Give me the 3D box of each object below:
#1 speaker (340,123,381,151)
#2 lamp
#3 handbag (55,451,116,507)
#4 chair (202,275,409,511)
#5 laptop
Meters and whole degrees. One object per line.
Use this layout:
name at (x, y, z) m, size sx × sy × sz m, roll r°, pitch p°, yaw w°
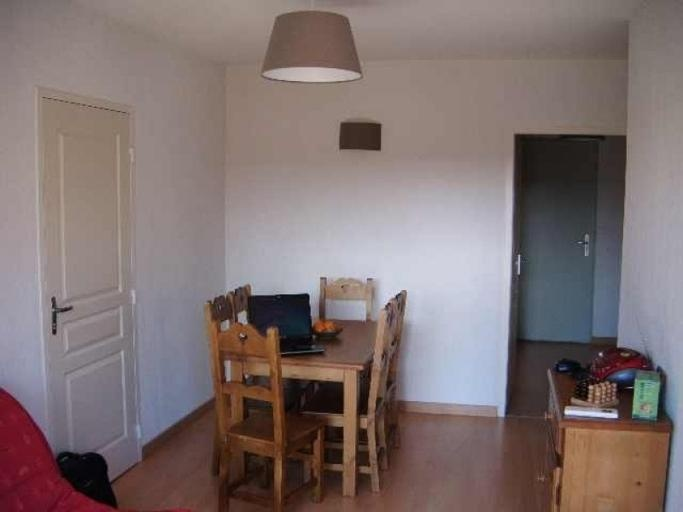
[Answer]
speaker at (0.156, -0.981, 4.589) m, size 0.302 × 0.231 × 0.062 m, roll 2°, pitch 6°, yaw 8°
lamp at (-0.152, -1.068, 2.919) m, size 0.489 × 0.258 × 0.484 m, roll -4°, pitch 11°, yaw -22°
handbag at (-1.354, 1.181, 3.049) m, size 0.307 × 0.118 × 0.386 m, roll 32°, pitch 23°, yaw -37°
chair at (-0.204, 0.844, 3.597) m, size 1.075 × 1.059 × 1.919 m, roll 0°, pitch 5°, yaw 8°
laptop at (-0.367, 0.383, 3.598) m, size 0.456 × 0.375 × 0.352 m, roll 0°, pitch 5°, yaw -12°
